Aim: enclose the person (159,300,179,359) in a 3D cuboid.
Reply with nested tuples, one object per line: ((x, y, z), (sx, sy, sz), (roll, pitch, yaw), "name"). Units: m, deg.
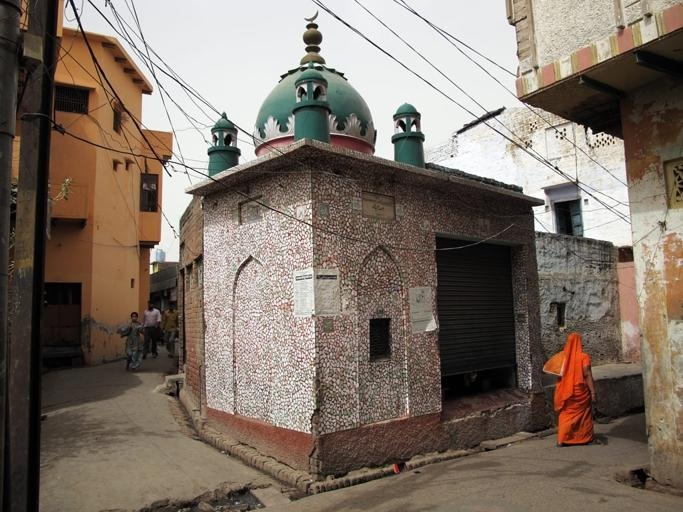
((-5.181, 2.169, 18.881), (0.440, 1.610, 2.439), (1, -9, -15), "person")

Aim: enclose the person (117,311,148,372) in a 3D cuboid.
((-5.310, 2.123, 15.836), (0.487, 1.418, 0.982), (1, -8, -19), "person")

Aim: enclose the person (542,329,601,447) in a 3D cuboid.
((3.862, 2.199, 10.530), (0.722, 1.812, 0.413), (-4, -8, 18), "person")
